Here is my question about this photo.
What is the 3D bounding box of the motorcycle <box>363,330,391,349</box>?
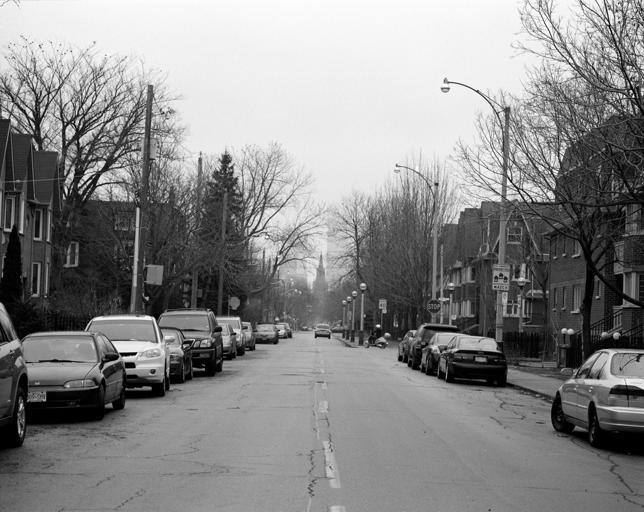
[{"bbox_3d":[4.782,7.455,66.576,2.589,1.939,1.548,-2,-16,23],"label":"motorcycle"}]

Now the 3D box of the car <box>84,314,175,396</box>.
[{"bbox_3d":[-4.791,2.420,19.114,1.160,1.473,2.903,0,-13,-2],"label":"car"}]
